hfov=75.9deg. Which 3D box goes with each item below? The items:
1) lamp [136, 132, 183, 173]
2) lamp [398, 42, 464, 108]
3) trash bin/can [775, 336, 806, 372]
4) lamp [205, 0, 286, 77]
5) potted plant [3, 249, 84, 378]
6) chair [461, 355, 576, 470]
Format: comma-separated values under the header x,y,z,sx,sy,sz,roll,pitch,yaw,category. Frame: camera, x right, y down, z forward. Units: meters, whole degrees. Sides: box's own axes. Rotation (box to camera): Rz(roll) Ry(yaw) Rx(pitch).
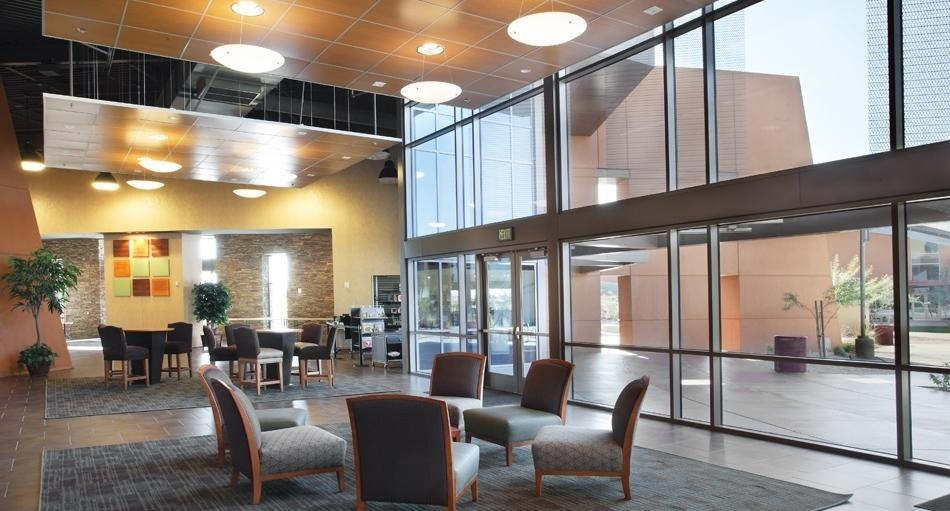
x,y,z,sx,sy,sz,roll,pitch,yaw,category
-7.494,-2.472,14.469,0.982,0.689,0.846,7,5,6,lamp
-0.757,-3.125,10.652,1.292,0.875,1.102,1,2,-1,lamp
5.322,1.689,10.269,0.501,0.640,0.610,-2,-4,22,trash bin/can
-3.448,-3.410,9.450,1.057,1.094,0.817,-2,-3,16,lamp
-11.495,1.422,15.997,1.083,3.367,1.324,-3,-4,27,potted plant
0.979,2.479,10.116,1.988,1.574,1.783,5,-7,-27,chair
